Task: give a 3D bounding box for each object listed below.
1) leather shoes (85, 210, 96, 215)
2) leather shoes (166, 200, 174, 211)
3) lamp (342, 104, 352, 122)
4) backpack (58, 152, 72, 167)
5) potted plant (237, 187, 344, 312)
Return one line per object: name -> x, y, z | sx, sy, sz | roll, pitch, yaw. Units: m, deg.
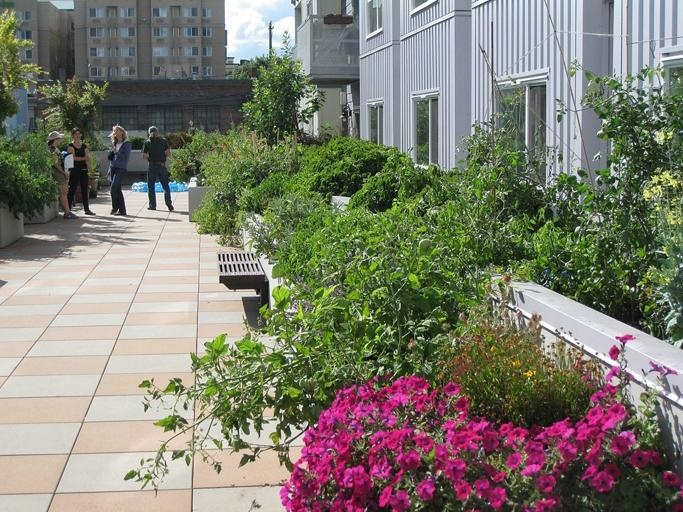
leather shoes -> -6.327, -1.066, 15.691 | 0.270, 0.139, 0.112 | 8, 22, -13
leather shoes -> -4.669, -1.374, 16.865 | 0.182, 0.315, 0.504 | -2, -7, -8
lamp -> 0.254, -5.278, 22.723 | 0.306, 0.629, 0.600 | 3, 15, 6
backpack -> -6.703, -2.331, 15.067 | 0.313, 0.639, 0.411 | -2, 4, -27
potted plant -> -0.844, -0.019, 7.497 | 1.219, 0.641, 1.440 | 3, 47, 0
